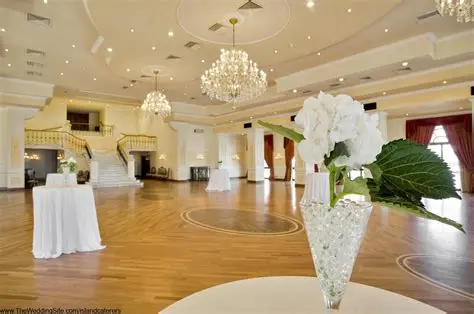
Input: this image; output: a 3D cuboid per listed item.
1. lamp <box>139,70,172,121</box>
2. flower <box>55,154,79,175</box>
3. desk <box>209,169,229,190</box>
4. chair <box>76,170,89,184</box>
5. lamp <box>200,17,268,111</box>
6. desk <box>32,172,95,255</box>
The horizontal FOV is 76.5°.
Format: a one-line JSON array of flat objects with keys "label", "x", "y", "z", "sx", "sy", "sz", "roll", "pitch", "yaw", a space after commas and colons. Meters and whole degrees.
[{"label": "lamp", "x": -3.289, "y": -2.580, "z": 12.030, "sx": 1.130, "sy": 1.746, "sz": 1.212, "roll": 9, "pitch": 12, "yaw": 2}, {"label": "flower", "x": -6.764, "y": 0.257, "z": 12.071, "sx": 0.929, "sy": 0.708, "sz": 0.955, "roll": -6, "pitch": 14, "yaw": -8}, {"label": "desk", "x": -0.821, "y": 1.012, "z": 13.651, "sx": 0.934, "sy": 0.738, "sz": 0.898, "roll": 1, "pitch": -6, "yaw": -1}, {"label": "chair", "x": -8.063, "y": 1.064, "z": 15.734, "sx": 0.571, "sy": 0.853, "sz": 0.655, "roll": 0, "pitch": -4, "yaw": 4}, {"label": "lamp", "x": 0.325, "y": -2.696, "z": 9.623, "sx": 1.928, "sy": 3.039, "sz": 1.937, "roll": 2, "pitch": -2, "yaw": -27}, {"label": "desk", "x": -3.696, "y": 1.195, "z": 6.638, "sx": 1.291, "sy": 1.434, "sz": 1.441, "roll": 0, "pitch": 2, "yaw": 44}]
